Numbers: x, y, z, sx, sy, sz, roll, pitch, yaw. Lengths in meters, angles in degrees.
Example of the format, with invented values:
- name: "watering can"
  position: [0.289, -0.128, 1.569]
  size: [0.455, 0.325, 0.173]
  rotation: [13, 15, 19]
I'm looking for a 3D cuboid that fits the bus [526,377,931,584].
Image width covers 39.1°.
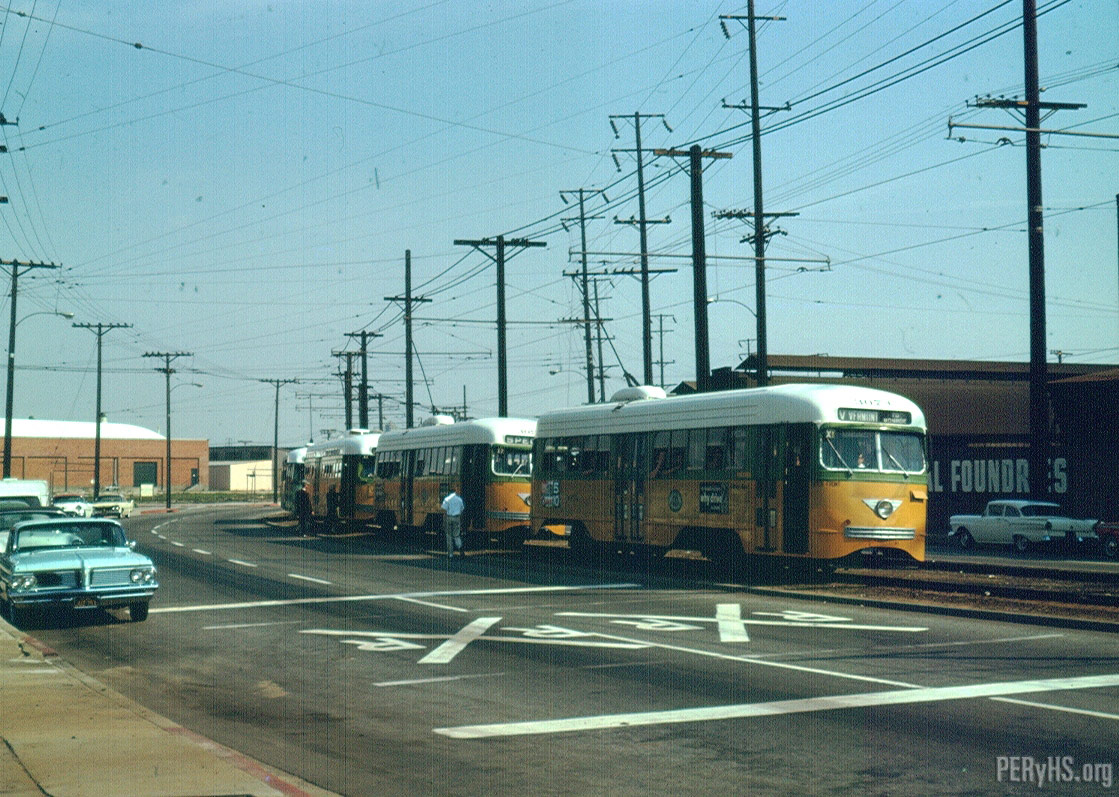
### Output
- name: "bus"
  position: [3.629, 2.093, 38.030]
  size: [3.769, 4.306, 12.363]
  rotation: [2, -8, -30]

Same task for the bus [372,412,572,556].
- name: "bus"
  position: [-2.513, 2.487, 47.550]
  size: [2.890, 3.350, 8.630]
  rotation: [1, -7, -25]
